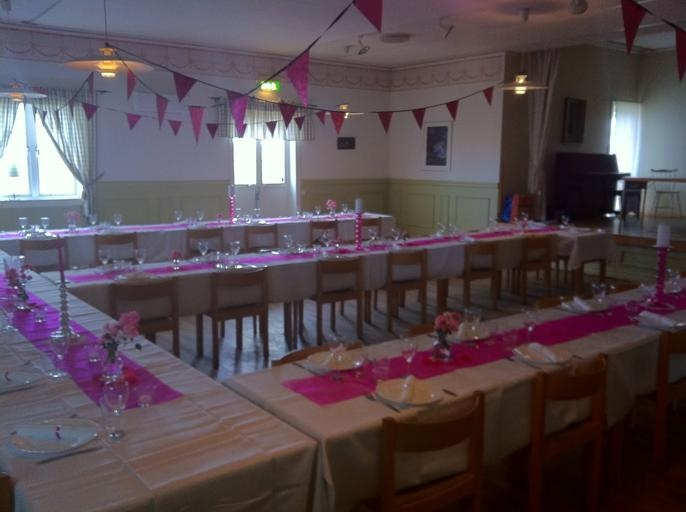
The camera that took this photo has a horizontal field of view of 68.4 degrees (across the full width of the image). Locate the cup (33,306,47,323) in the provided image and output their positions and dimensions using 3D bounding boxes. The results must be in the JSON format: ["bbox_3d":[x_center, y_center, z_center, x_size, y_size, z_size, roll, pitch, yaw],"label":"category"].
[{"bbox_3d":[-1.858,0.365,3.095,0.068,0.077,0.056,1,-1,19],"label":"cup"}]

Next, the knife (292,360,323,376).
[{"bbox_3d":[-0.169,0.545,2.459,0.050,0.009,0.166,-36,22,-33],"label":"knife"}]

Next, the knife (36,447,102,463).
[{"bbox_3d":[-0.957,0.685,1.761,0.208,0.018,0.049,-7,7,-25],"label":"knife"}]

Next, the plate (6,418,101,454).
[{"bbox_3d":[-1.059,0.653,1.831,0.321,0.063,0.191,-4,7,3],"label":"plate"}]

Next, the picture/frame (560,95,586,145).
[{"bbox_3d":[4.800,-2.860,10.592,0.134,1.156,0.935,3,8,40],"label":"picture/frame"}]

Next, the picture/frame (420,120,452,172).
[{"bbox_3d":[1.947,-2.202,10.352,0.103,0.978,0.720,-8,8,-36],"label":"picture/frame"}]

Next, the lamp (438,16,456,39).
[{"bbox_3d":[1.583,-3.430,7.635,0.224,0.071,1.253,-2,7,14],"label":"lamp"}]

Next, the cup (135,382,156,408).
[{"bbox_3d":[-0.804,0.570,2.062,0.074,0.093,0.079,2,2,0],"label":"cup"}]
